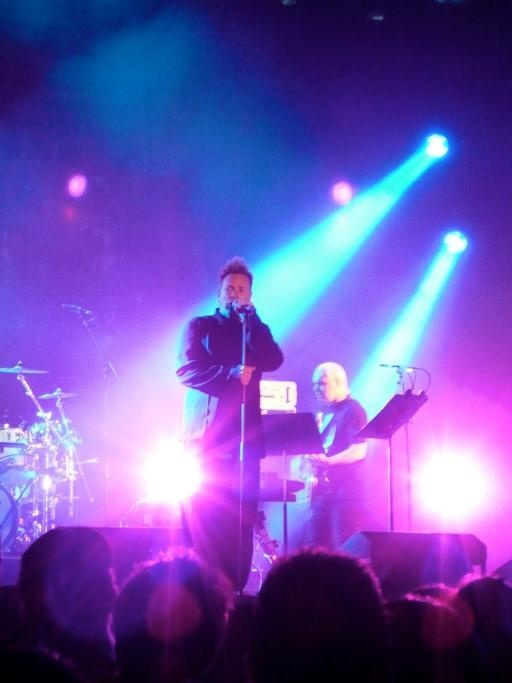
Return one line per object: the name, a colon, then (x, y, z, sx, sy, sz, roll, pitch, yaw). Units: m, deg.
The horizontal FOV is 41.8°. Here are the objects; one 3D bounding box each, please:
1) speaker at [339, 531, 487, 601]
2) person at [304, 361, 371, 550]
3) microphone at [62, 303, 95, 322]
speaker: (0.906, 1.239, 3.686, 0.641, 0.403, 0.509, 14, -24, -28)
person: (0.635, 0.855, 5.287, 0.475, 1.555, 0.529, -6, -22, 23)
microphone: (-1.770, -0.266, 6.730, 0.246, 0.267, 0.984, -5, 4, -15)
